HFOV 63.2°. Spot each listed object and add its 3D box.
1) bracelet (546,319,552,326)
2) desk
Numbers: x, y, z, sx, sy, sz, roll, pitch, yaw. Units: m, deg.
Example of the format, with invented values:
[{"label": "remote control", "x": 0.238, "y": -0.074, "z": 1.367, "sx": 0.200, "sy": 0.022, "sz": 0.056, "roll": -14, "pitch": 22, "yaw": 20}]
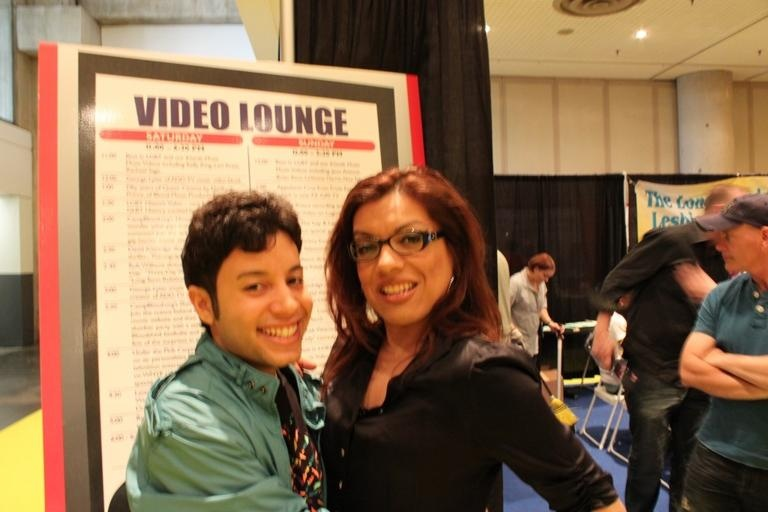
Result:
[{"label": "bracelet", "x": 1.937, "y": 0.791, "z": 7.364, "sx": 0.064, "sy": 0.070, "sz": 0.018, "roll": 2, "pitch": -26, "yaw": 3}, {"label": "desk", "x": 2.110, "y": 1.360, "z": 7.837, "sx": 0.691, "sy": 0.847, "sz": 0.853, "roll": 13, "pitch": -3, "yaw": -24}]
